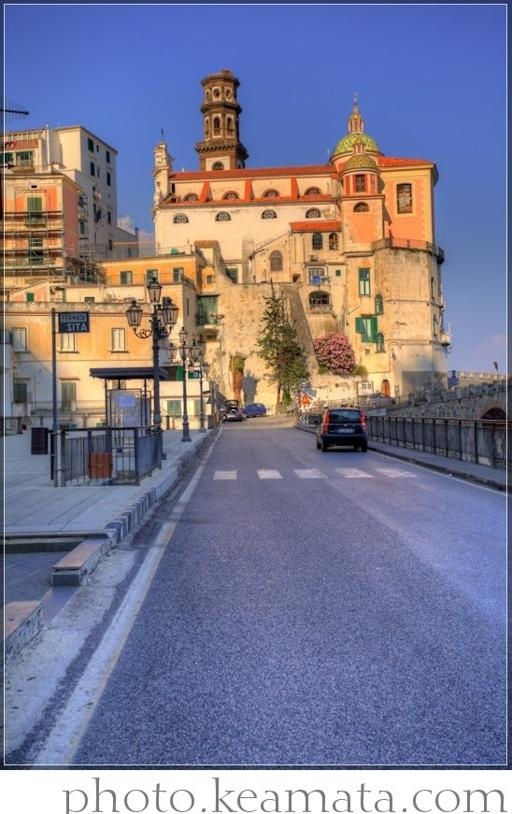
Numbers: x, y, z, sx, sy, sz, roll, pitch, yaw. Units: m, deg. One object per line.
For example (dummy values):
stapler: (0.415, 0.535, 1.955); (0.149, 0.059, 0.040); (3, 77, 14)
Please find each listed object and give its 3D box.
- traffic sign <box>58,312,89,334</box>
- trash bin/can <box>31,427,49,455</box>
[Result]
traffic sign: (-4.432, -2.100, 16.511); (1.077, 0.508, 0.421); (-5, -1, 37)
trash bin/can: (-8.378, 1.347, 26.219); (1.148, 0.990, 0.527); (-5, -1, 33)
